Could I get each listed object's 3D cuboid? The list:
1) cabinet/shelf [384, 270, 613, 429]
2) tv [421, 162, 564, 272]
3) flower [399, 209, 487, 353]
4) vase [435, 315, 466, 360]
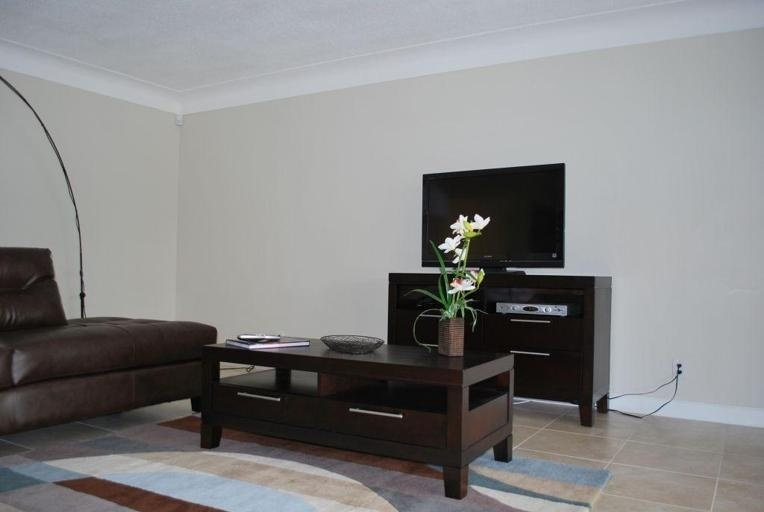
[{"bbox_3d":[0.920,0.671,4.418,1.716,0.996,0.547,0,-3,34],"label":"cabinet/shelf"},{"bbox_3d":[0.926,-0.271,4.560,1.380,0.880,0.368,2,5,43],"label":"tv"},{"bbox_3d":[0.418,0.183,3.096,0.436,0.762,0.465,-3,-8,17],"label":"flower"},{"bbox_3d":[0.379,0.469,3.138,0.202,0.322,0.197,0,-4,5],"label":"vase"}]
